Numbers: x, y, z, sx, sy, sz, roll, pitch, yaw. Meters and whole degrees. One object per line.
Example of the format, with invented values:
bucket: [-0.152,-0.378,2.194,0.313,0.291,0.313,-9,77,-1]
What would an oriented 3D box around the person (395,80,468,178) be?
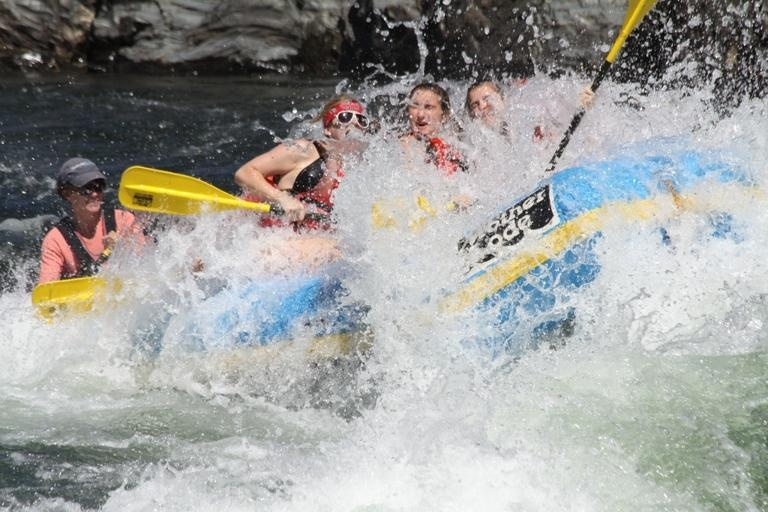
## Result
person: [0.429,-1.112,8.352,0.566,0.357,0.835,-5,77,-4]

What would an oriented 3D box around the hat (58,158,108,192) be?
hat: [-2.607,-0.700,8.192,0.365,0.183,0.268,0,13,42]

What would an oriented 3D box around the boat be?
boat: [0.432,0.110,7.724,4.733,0.662,2.159,-20,62,2]
